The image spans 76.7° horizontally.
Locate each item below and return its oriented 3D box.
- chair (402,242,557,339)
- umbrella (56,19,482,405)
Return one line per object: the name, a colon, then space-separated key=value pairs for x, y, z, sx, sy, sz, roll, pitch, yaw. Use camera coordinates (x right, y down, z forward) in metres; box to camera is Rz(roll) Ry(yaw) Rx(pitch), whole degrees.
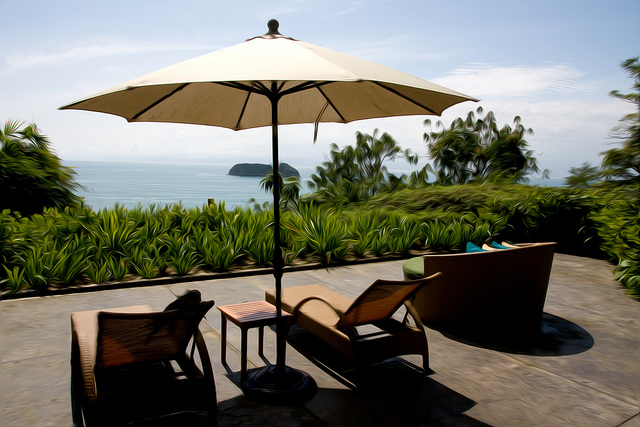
chair: x=2.129 y=0.980 z=5.548 sx=1.484 sy=0.908 sz=1.606 roll=-1 pitch=3 yaw=-45
umbrella: x=-0.483 y=-0.844 z=5.626 sx=3.617 sy=3.362 sz=3.458 roll=-7 pitch=30 yaw=-9
